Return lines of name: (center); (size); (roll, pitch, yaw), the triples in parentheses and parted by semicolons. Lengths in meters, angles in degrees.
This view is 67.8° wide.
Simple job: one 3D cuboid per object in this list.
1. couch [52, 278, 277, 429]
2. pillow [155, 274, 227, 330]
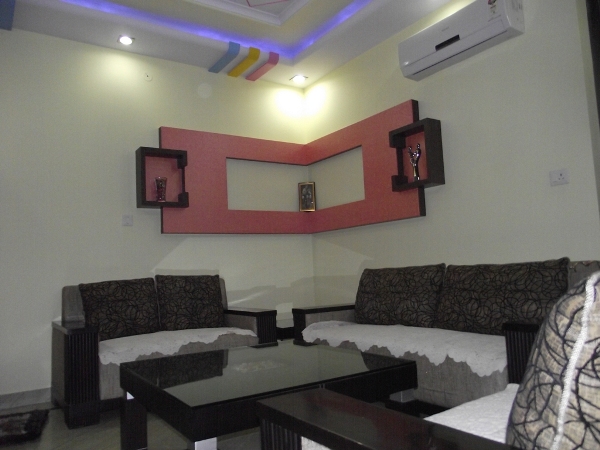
couch: (-1.166, 1.031, 3.999); (1.802, 1.062, 0.784); (4, -8, -39)
pillow: (-1.039, 0.732, 4.245); (0.545, 0.535, 0.170); (1, -20, -22)
